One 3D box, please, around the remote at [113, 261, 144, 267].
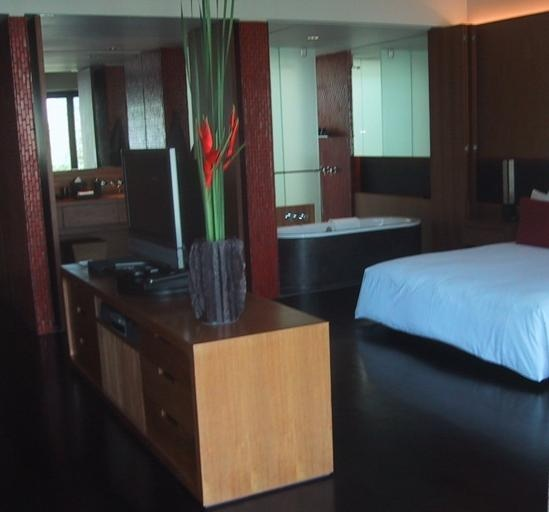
[{"bbox_3d":[-0.836,0.048,2.934,0.086,0.026,0.096,1,4,24],"label":"remote"}]
